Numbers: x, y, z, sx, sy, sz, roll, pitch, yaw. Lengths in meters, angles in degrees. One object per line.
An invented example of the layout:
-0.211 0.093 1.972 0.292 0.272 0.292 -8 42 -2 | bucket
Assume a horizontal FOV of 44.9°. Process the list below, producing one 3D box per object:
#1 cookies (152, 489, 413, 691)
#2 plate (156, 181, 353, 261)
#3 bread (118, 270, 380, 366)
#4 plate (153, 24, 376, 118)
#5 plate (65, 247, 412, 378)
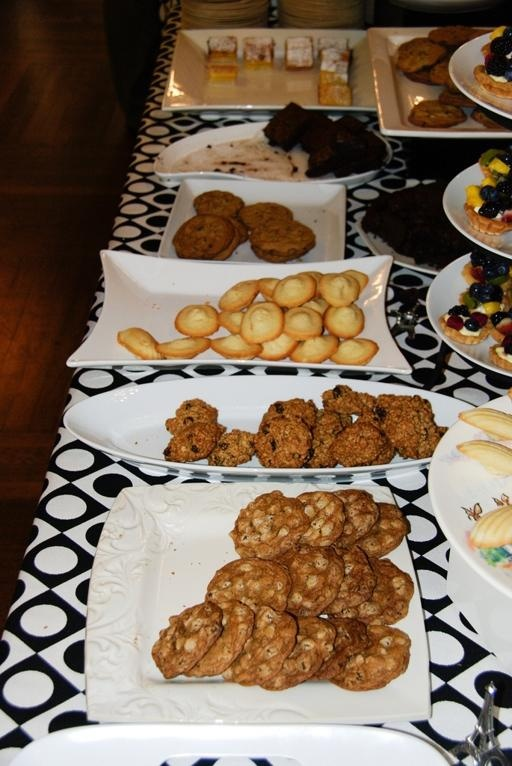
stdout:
0.054 0.259 0.857 0.333 0.107 0.318 6 45 6 | cookies
0.002 -0.462 1.884 0.446 0.059 0.292 2 49 1 | plate
-0.001 -0.122 1.330 0.449 0.049 0.243 0 47 8 | bread
0.051 -1.196 2.387 0.743 0.100 0.462 1 55 1 | plate
-0.024 -0.164 1.520 0.615 0.087 0.348 1 50 1 | plate
